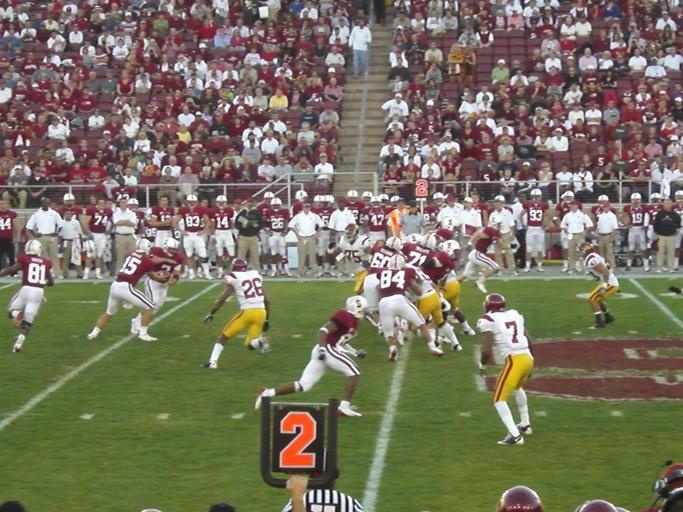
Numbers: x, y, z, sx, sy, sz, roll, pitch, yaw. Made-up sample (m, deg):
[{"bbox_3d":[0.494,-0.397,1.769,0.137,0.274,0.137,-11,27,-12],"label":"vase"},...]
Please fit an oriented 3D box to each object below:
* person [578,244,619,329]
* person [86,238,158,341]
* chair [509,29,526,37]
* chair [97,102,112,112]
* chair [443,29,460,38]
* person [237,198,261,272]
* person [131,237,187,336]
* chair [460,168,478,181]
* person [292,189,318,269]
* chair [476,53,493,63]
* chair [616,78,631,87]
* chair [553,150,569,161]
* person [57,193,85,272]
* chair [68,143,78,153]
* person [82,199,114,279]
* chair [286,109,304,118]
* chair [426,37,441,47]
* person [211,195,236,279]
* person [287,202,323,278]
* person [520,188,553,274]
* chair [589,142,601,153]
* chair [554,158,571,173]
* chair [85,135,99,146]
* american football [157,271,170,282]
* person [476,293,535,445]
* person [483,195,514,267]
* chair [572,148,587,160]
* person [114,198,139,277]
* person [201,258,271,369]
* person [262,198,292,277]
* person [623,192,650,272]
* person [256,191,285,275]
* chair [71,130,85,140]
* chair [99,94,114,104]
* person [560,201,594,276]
[{"bbox_3d":[4.593,0.521,23.689,0.820,1.469,0.999,-2,6,1],"label":"person"},{"bbox_3d":[-3.728,0.518,22.960,1.192,1.743,0.961,3,15,-7],"label":"person"},{"bbox_3d":[4.556,-5.712,34.251,0.258,0.264,0.251,0,2,10],"label":"chair"},{"bbox_3d":[-5.953,-3.766,33.762,0.330,0.313,0.296,0,0,-13],"label":"chair"},{"bbox_3d":[2.896,-5.748,34.571,0.350,0.360,0.282,1,16,-1],"label":"chair"},{"bbox_3d":[-1.983,-0.451,28.672,0.490,1.593,0.399,2,14,-11],"label":"person"},{"bbox_3d":[-3.139,0.603,23.189,0.835,1.874,1.093,10,4,-11],"label":"person"},{"bbox_3d":[2.927,-1.859,30.401,0.370,0.252,0.264,1,1,6],"label":"chair"},{"bbox_3d":[-0.740,-0.334,28.980,0.704,1.570,0.322,-2,4,-4],"label":"person"},{"bbox_3d":[3.661,-5.065,33.892,0.351,0.361,0.335,0,-2,4],"label":"chair"},{"bbox_3d":[7.011,-4.261,32.927,0.259,0.246,0.291,0,1,4],"label":"chair"},{"bbox_3d":[5.075,-2.294,30.655,0.293,0.320,0.300,3,10,10],"label":"chair"},{"bbox_3d":[-5.878,-0.479,29.276,0.483,1.744,0.438,14,18,31],"label":"person"},{"bbox_3d":[-6.468,-2.630,32.465,0.279,0.169,0.261,-1,-4,28],"label":"chair"},{"bbox_3d":[-5.266,-0.415,29.008,0.560,1.888,0.449,0,15,-10],"label":"person"},{"bbox_3d":[-1.109,-3.475,32.508,0.421,0.252,0.283,-1,4,10],"label":"chair"},{"bbox_3d":[2.430,-5.549,34.329,0.507,0.243,0.432,-2,5,-9],"label":"chair"},{"bbox_3d":[-2.564,-0.386,29.118,0.639,1.785,0.589,-6,-6,33],"label":"person"},{"bbox_3d":[-0.723,-0.338,28.962,1.015,1.518,0.519,0,2,8],"label":"person"},{"bbox_3d":[4.242,-0.565,28.924,0.726,1.708,0.592,-2,9,-2],"label":"person"},{"bbox_3d":[5.917,-2.505,30.892,0.294,0.270,0.252,0,-2,14],"label":"chair"},{"bbox_3d":[5.020,-2.058,30.363,0.367,0.334,0.363,0,-3,13],"label":"chair"},{"bbox_3d":[-6.018,-2.797,32.532,0.370,0.273,0.458,-2,4,-10],"label":"chair"},{"bbox_3d":[-3.039,0.361,22.877,0.217,0.128,0.196,-2,-7,17],"label":"american football"},{"bbox_3d":[2.349,1.623,18.966,0.746,2.096,0.551,-1,4,12],"label":"person"},{"bbox_3d":[3.499,-0.490,28.735,0.604,1.564,0.455,5,13,11],"label":"person"},{"bbox_3d":[5.500,-2.365,30.797,0.308,0.336,0.313,3,14,10],"label":"chair"},{"bbox_3d":[-4.616,-0.392,28.700,0.741,1.726,0.598,-4,2,-37],"label":"person"},{"bbox_3d":[-1.588,0.968,21.706,1.180,1.691,0.966,0,14,-17],"label":"person"},{"bbox_3d":[-1.387,-0.416,29.262,0.579,1.679,0.413,4,11,4],"label":"person"},{"bbox_3d":[6.456,-0.527,29.003,0.495,1.684,0.650,-1,4,11],"label":"person"},{"bbox_3d":[-1.416,-0.444,29.350,0.551,1.891,0.402,3,11,9],"label":"person"},{"bbox_3d":[-6.455,-2.984,32.820,0.377,0.238,0.228,-2,4,-10],"label":"chair"},{"bbox_3d":[-5.941,-3.993,33.970,0.308,0.303,0.285,0,3,-14],"label":"chair"},{"bbox_3d":[5.071,-0.379,28.484,0.840,1.545,0.518,-3,-4,7],"label":"person"}]
